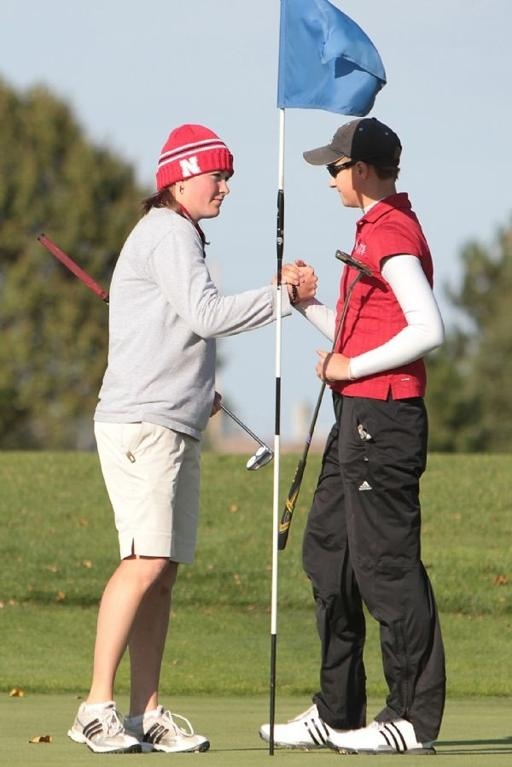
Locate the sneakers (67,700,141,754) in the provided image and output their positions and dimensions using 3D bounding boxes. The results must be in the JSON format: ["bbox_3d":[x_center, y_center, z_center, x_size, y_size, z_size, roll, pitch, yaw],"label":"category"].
[{"bbox_3d":[-0.562,1.205,6.409,0.120,0.142,0.276,4,1,-44],"label":"sneakers"}]

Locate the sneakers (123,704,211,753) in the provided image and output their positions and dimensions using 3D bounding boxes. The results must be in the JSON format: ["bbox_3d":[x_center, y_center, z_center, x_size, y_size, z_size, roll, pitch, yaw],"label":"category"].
[{"bbox_3d":[-0.324,1.244,6.572,0.313,0.150,0.142,1,-5,28],"label":"sneakers"}]

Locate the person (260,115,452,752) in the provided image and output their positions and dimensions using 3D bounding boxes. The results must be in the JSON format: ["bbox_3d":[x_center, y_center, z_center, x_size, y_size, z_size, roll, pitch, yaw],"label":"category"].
[{"bbox_3d":[0.424,0.181,6.610,0.670,1.903,0.521,2,-1,26],"label":"person"}]

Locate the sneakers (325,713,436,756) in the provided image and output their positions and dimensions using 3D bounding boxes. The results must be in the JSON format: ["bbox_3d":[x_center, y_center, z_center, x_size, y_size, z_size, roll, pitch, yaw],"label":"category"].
[{"bbox_3d":[0.458,1.269,6.573,0.377,0.174,0.140,2,-13,14],"label":"sneakers"}]

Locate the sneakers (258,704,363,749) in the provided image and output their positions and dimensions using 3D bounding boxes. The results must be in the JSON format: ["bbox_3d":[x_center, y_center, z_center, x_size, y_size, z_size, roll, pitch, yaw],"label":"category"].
[{"bbox_3d":[0.216,1.249,6.594,0.336,0.163,0.117,3,-8,-2],"label":"sneakers"}]
